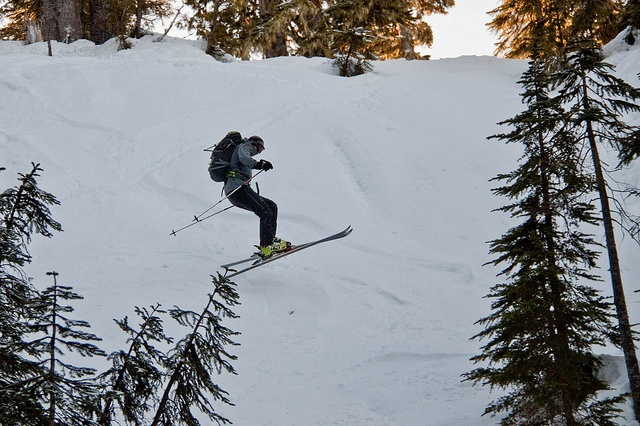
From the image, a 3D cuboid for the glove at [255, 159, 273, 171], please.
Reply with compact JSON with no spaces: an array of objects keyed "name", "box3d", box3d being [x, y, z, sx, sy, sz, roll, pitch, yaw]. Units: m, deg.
[{"name":"glove","box3d":[-1.584,-1.373,29.699,0.482,0.360,0.518,2,-14,0]}]
